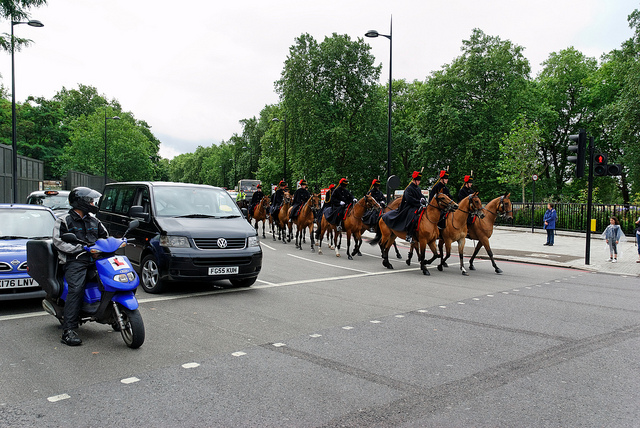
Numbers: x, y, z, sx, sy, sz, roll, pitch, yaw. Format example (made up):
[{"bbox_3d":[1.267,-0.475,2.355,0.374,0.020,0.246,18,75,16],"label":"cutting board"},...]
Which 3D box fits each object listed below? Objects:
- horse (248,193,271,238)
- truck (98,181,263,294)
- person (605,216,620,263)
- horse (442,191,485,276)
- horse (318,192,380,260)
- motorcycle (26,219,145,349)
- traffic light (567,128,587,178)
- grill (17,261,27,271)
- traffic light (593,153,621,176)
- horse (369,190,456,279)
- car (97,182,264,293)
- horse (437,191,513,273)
[{"bbox_3d":[-3.372,0.113,29.284,0.743,2.314,3.382,2,-1,-23],"label":"horse"},{"bbox_3d":[-3.529,0.396,13.317,2.287,1.995,4.103,2,-3,-36],"label":"truck"},{"bbox_3d":[10.486,0.907,19.374,0.486,1.583,1.511,7,13,30],"label":"person"},{"bbox_3d":[4.177,0.654,16.998,0.761,2.458,3.057,3,-2,-15],"label":"horse"},{"bbox_3d":[0.937,0.434,20.391,0.872,2.494,3.374,-1,3,-43],"label":"horse"},{"bbox_3d":[-4.033,1.182,9.332,2.840,1.860,1.376,4,0,34],"label":"motorcycle"},{"bbox_3d":[8.427,-1.961,17.683,0.330,1.525,0.549,6,-3,-37],"label":"traffic light"},{"bbox_3d":[-5.674,0.990,10.313,0.191,0.183,0.087,2,11,3],"label":"grill"},{"bbox_3d":[9.250,-1.614,17.400,0.833,0.706,0.667,7,13,29],"label":"traffic light"},{"bbox_3d":[2.808,0.586,17.093,0.982,2.607,3.700,4,1,-40],"label":"horse"},{"bbox_3d":[-3.536,0.459,13.378,2.284,1.988,4.028,2,-2,-38],"label":"car"},{"bbox_3d":[5.119,0.705,17.959,0.862,2.504,3.189,11,-10,-25],"label":"horse"}]
